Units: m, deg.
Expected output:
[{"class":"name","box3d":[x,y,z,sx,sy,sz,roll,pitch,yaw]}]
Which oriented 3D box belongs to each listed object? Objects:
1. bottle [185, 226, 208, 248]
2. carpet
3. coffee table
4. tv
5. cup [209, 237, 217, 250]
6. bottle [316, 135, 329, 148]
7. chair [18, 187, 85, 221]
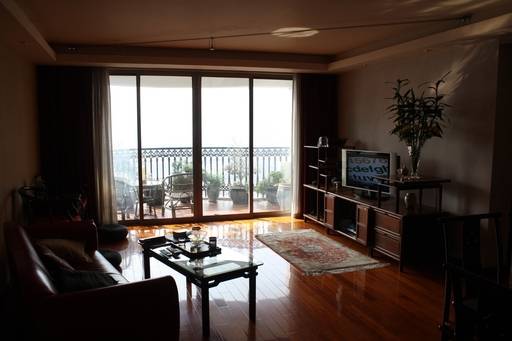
[{"class":"bottle","box3d":[-0.792,0.886,4.628,0.241,0.234,0.242,1,3,31]},{"class":"carpet","box3d":[0.981,1.288,5.682,1.317,0.057,1.836,-5,13,-26]},{"class":"coffee table","box3d":[-0.573,1.487,4.209,0.794,0.686,1.761,-6,9,-40]},{"class":"tv","box3d":[1.891,0.077,5.807,0.403,0.670,0.842,1,3,-31]},{"class":"cup","box3d":[-0.549,0.946,4.544,0.117,0.153,0.129,-1,8,-5]},{"class":"bottle","box3d":[1.285,-0.532,6.682,0.273,0.260,0.172,0,1,-15]},{"class":"chair","box3d":[-3.127,0.530,5.468,0.672,0.525,0.691,0,5,-23]}]
